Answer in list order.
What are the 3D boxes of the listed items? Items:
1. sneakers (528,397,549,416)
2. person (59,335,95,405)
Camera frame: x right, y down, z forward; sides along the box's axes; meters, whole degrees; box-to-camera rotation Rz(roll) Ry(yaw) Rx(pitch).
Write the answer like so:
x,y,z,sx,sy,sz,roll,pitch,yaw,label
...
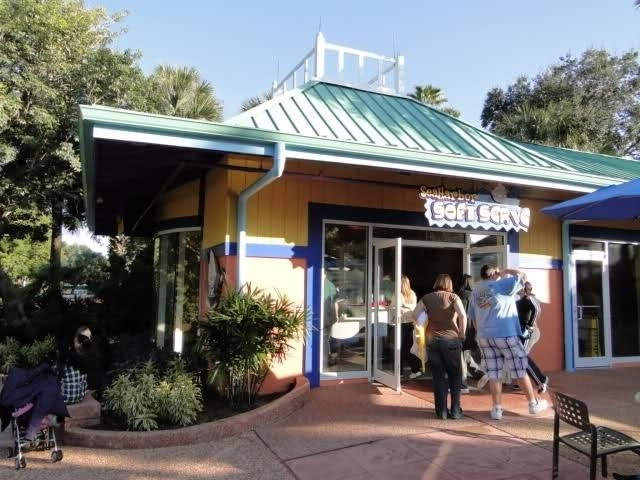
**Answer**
x,y,z,sx,sy,sz,roll,pitch,yaw,label
3.481,2.590,8.724,0.490,0.242,0.182,-6,3,-44,sneakers
-3.714,1.929,8.422,0.420,0.989,0.834,-1,5,-23,person
